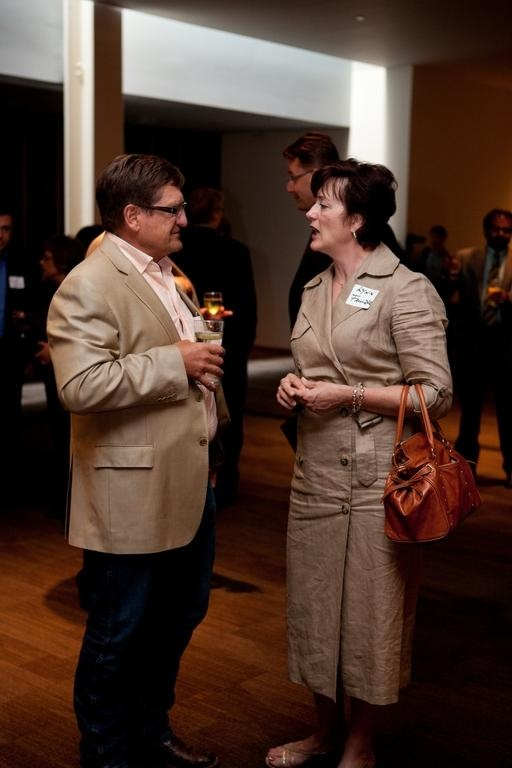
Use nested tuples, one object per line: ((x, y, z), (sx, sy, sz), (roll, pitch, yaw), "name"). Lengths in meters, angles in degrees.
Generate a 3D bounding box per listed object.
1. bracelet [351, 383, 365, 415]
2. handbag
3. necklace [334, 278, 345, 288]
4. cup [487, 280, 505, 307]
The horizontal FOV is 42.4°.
((0.233, 0.034, 1.506), (0.022, 0.053, 0.043), (13, 15, 5), "bracelet")
((0.357, 0.227, 1.393), (0.153, 0.207, 0.181), (6, 11, 22), "handbag")
((0.211, -0.254, 1.670), (0.022, 0.029, 0.011), (-3, -10, 15), "necklace")
((2.036, -0.750, 5.620), (0.109, 0.201, 0.193), (-3, 11, -23), "cup")
